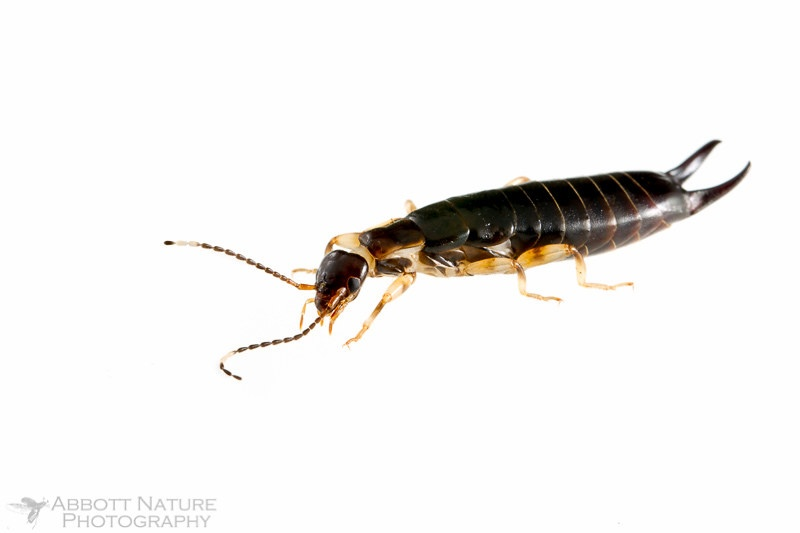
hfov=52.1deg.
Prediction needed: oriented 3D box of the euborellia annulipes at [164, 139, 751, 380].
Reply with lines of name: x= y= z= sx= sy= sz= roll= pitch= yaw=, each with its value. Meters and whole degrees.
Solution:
euborellia annulipes: x=0.961 y=-0.466 z=9.266 sx=6.603 sy=3.773 sz=1.994 roll=-3 pitch=-79 yaw=-19
